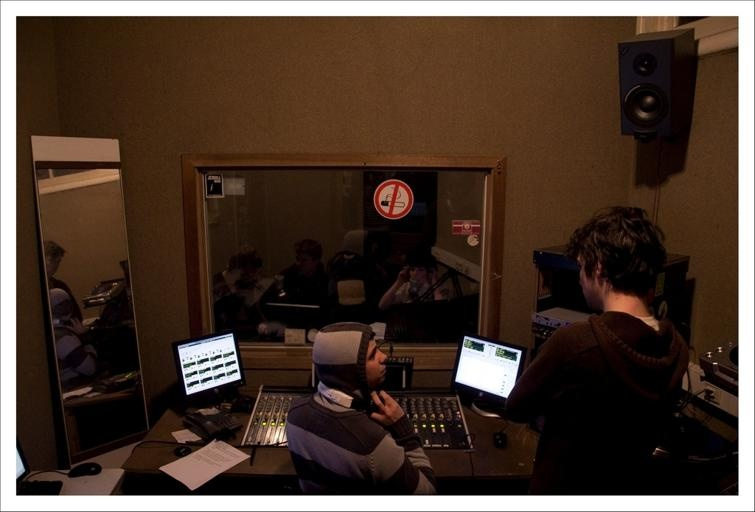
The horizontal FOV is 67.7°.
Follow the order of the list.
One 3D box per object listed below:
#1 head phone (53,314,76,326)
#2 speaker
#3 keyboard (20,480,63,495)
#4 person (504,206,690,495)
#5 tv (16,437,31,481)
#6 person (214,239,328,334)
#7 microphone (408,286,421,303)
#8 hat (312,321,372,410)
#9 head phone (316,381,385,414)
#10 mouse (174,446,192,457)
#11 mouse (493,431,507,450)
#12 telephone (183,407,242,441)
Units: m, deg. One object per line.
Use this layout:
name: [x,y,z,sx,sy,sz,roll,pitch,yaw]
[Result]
head phone: [-1.932,0.399,3.487,0.088,0.029,0.059,0,49,-20]
speaker: [1.682,-1.029,3.388,0.456,0.636,0.254,-7,13,-27]
keyboard: [-1.792,1.232,3.001,0.215,0.058,0.070,-2,11,-3]
person: [0.992,0.481,2.589,0.765,1.364,0.429,1,12,12]
tv: [-1.898,1.100,3.005,0.055,0.213,0.244,-9,14,-33]
person: [-0.793,0.253,3.843,0.759,0.662,0.168,0,-4,-8]
microphone: [0.251,0.266,3.906,0.071,0.097,0.035,2,3,11]
hat: [-0.150,0.524,2.824,0.366,0.453,0.344,-3,3,-7]
head phone: [-0.118,0.708,2.702,0.313,0.104,0.230,17,1,-6]
mouse: [-1.110,1.112,3.212,0.057,0.024,0.058,9,9,38]
mouse: [0.709,1.071,3.269,0.062,0.018,0.078,-1,25,5]
telephone: [-1.008,1.002,3.395,0.221,0.057,0.182,12,6,40]
